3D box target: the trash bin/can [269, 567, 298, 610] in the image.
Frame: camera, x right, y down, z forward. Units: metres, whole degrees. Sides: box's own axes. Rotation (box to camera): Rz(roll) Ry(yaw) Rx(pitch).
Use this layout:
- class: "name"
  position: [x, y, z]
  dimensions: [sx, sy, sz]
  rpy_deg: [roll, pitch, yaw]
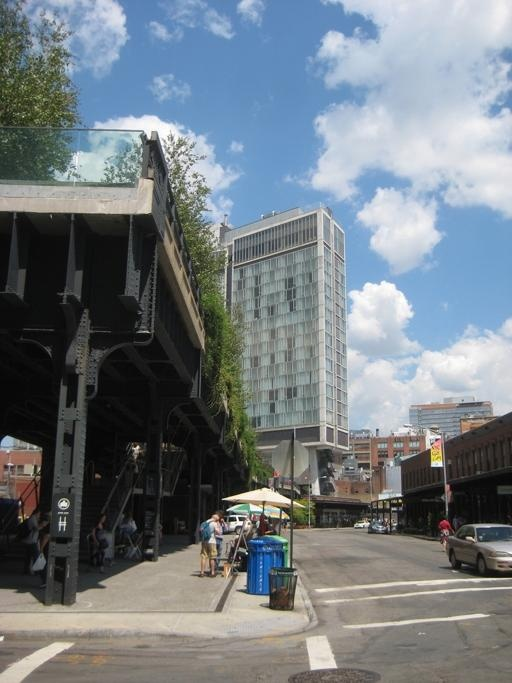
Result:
- class: "trash bin/can"
  position: [0.471, 4.460, 10.632]
  dimensions: [0.656, 0.851, 0.706]
  rpy_deg: [0, -15, 2]

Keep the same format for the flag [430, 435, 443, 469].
- class: "flag"
  position: [14.156, 8.627, 45.551]
  dimensions: [0.862, 2.313, 1.622]
  rpy_deg: [-6, -16, 18]

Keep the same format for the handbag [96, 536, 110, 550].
- class: "handbag"
  position: [-4.349, 5.603, 16.316]
  dimensions: [0.307, 0.513, 0.519]
  rpy_deg: [2, -16, -11]

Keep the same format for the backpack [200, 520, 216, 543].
- class: "backpack"
  position: [-1.294, 5.115, 15.682]
  dimensions: [0.357, 0.593, 0.874]
  rpy_deg: [0, -16, -3]
